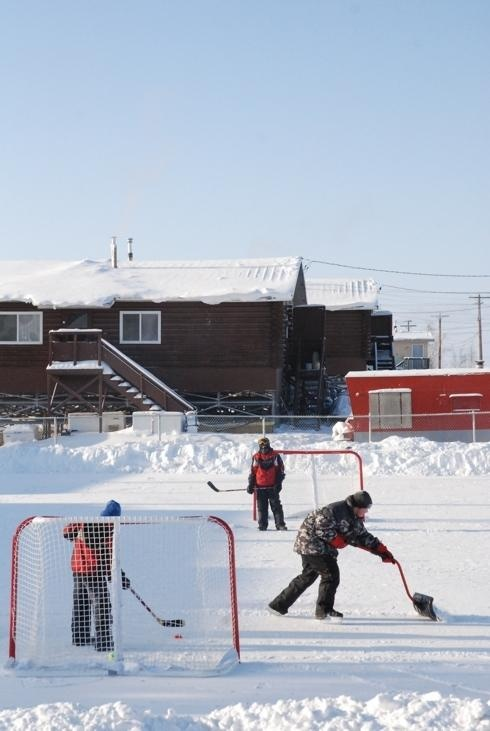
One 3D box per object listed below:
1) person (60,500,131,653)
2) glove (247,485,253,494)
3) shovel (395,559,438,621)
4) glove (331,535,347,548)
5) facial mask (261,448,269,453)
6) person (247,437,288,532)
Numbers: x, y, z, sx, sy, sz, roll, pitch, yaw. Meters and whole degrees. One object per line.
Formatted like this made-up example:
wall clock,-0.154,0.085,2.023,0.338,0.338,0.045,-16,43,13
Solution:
person,-1.341,1.844,12.220,0.639,1.308,0.442,5,9,22
glove,0.047,1.546,17.123,0.070,0.098,0.029,0,-1,-2
shovel,1.699,2.185,13.421,0.584,0.474,0.616,-2,2,0
glove,0.881,1.672,13.032,0.109,0.132,0.254,-1,-2,24
facial mask,0.232,1.067,17.191,0.062,0.063,0.018,7,-17,7
person,0.247,1.489,17.425,0.472,1.223,0.415,-2,4,-5
